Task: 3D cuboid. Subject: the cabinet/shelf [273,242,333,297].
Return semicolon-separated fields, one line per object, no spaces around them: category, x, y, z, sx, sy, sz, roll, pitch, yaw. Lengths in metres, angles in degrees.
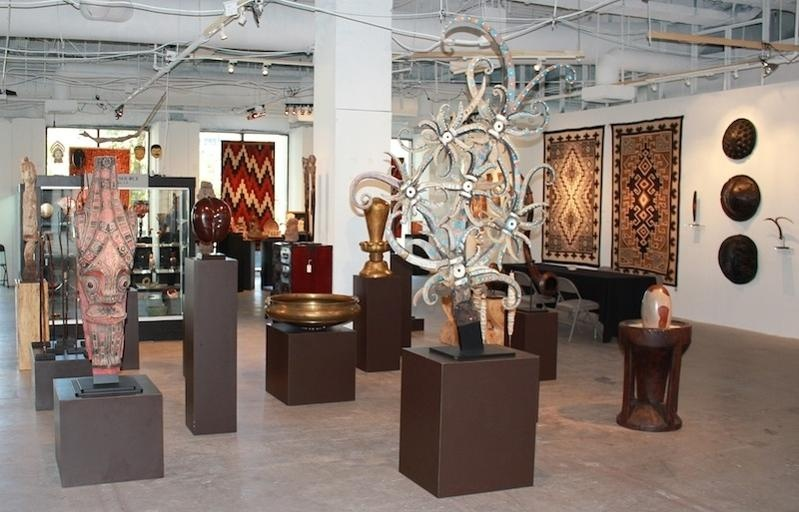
cabinet/shelf;-1.688;0.221;10.859;1.186;0.925;0.556;8;12;40

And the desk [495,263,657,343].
desk;3.235;0.813;11.344;0.956;1.079;1.831;-6;11;-37

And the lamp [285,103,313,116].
lamp;-2.519;-3.665;16.488;0.516;0.129;0.557;1;5;-3
